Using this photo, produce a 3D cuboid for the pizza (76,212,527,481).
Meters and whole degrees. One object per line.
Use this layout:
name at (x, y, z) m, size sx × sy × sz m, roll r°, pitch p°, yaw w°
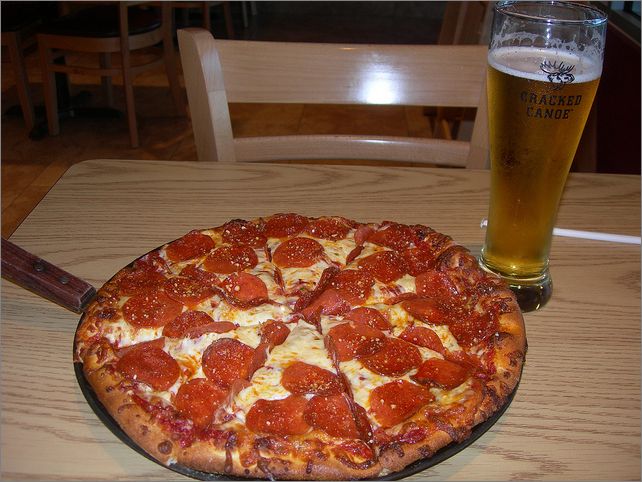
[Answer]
pizza at (-0.021, 0.098, 0.665) m, size 0.525 × 0.089 × 0.407 m, roll 5°, pitch 34°, yaw 10°
